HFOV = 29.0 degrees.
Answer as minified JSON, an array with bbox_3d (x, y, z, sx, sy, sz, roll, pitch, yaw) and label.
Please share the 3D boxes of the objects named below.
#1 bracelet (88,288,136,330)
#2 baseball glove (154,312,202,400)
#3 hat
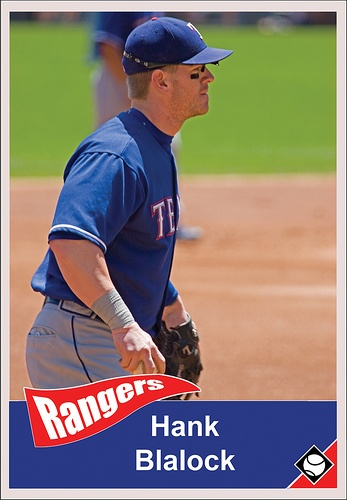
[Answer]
[{"bbox_3d":[-0.190,0.178,2.023,0.077,0.123,0.095,-24,19,52],"label":"bracelet"},{"bbox_3d":[0.039,0.417,2.765,0.254,0.297,0.099,0,-4,-40],"label":"baseball glove"},{"bbox_3d":[-0.015,-0.677,2.265,0.295,0.132,0.207,1,18,0],"label":"hat"}]
